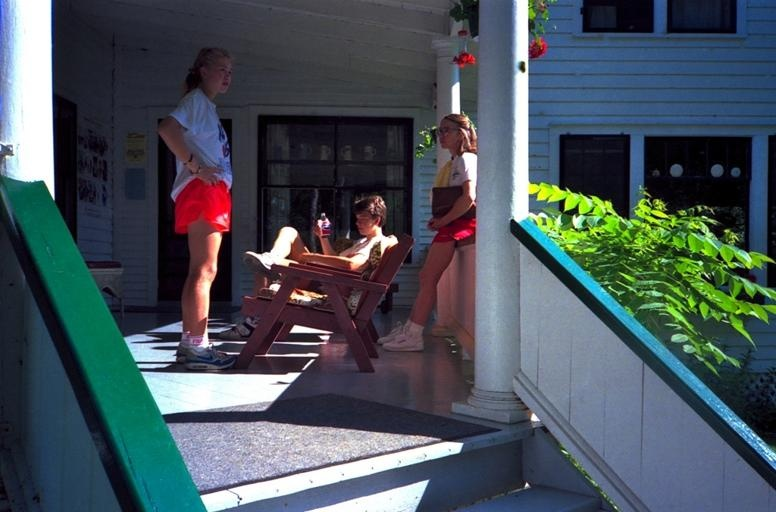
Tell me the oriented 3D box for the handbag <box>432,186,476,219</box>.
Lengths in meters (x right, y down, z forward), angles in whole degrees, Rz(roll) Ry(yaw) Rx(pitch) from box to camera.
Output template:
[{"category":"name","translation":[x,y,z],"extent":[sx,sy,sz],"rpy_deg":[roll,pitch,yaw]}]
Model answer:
[{"category":"handbag","translation":[0.585,-0.466,6.578],"extent":[0.301,0.225,0.092],"rpy_deg":[-9,-5,28]}]

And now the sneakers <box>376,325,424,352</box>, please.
[{"category":"sneakers","translation":[0.151,0.752,6.874],"extent":[0.254,0.188,0.315],"rpy_deg":[3,-5,-4]}]

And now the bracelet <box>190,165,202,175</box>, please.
[{"category":"bracelet","translation":[-1.420,-0.639,5.671],"extent":[0.052,0.023,0.060],"rpy_deg":[-25,-3,-42]}]

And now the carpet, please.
[{"category":"carpet","translation":[-0.465,1.060,4.652],"extent":[1.679,0.165,0.971],"rpy_deg":[-5,7,-20]}]

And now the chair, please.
[{"category":"chair","translation":[-0.479,0.389,6.328],"extent":[1.226,1.021,1.046],"rpy_deg":[1,-4,2]}]

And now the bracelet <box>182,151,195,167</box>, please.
[{"category":"bracelet","translation":[-1.474,-0.715,5.621],"extent":[0.068,0.037,0.088],"rpy_deg":[-18,25,13]}]

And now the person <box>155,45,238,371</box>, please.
[{"category":"person","translation":[-1.441,-0.362,5.843],"extent":[0.431,2.462,0.536],"rpy_deg":[0,7,18]}]

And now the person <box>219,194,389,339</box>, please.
[{"category":"person","translation":[-0.720,0.074,6.729],"extent":[1.568,1.178,0.745],"rpy_deg":[-2,3,-20]}]

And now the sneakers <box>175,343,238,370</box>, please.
[{"category":"sneakers","translation":[-1.412,0.768,5.914],"extent":[0.457,0.221,0.184],"rpy_deg":[2,0,-17]}]
